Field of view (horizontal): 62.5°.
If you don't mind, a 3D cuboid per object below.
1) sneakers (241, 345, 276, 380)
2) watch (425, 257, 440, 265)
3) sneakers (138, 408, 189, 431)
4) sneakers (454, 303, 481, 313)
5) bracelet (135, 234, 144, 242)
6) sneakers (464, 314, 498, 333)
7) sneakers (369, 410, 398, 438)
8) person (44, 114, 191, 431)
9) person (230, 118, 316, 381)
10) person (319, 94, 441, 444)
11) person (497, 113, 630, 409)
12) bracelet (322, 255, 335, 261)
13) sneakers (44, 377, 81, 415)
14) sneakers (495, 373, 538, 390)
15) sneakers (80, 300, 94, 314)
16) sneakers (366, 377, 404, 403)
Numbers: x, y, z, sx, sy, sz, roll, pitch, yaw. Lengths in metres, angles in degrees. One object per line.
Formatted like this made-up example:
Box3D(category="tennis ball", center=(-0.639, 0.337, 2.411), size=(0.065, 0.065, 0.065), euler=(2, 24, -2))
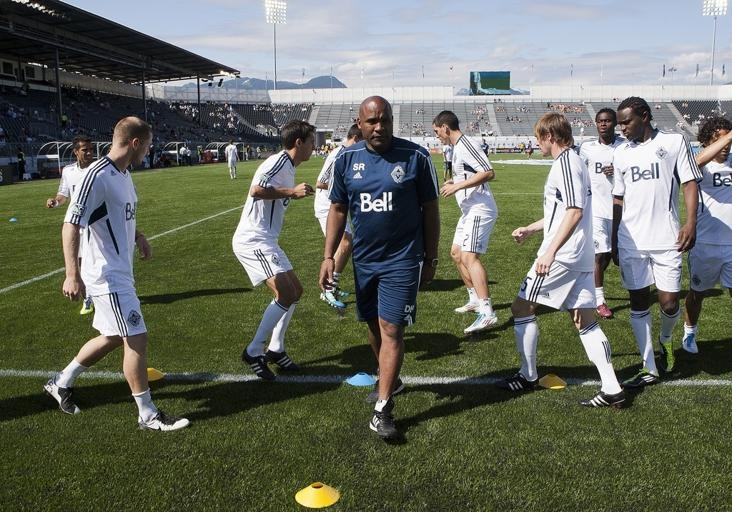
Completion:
Box3D(category="sneakers", center=(-0.971, 0.979, 5.475), size=(0.246, 0.270, 0.204), euler=(-10, 14, -17))
Box3D(category="watch", center=(0.535, 0.043, 4.896), size=(0.073, 0.040, 0.057), euler=(1, 2, 35))
Box3D(category="sneakers", center=(-1.566, 1.280, 4.762), size=(0.393, 0.155, 0.154), euler=(0, -5, -3))
Box3D(category="sneakers", center=(1.214, 0.611, 7.160), size=(0.305, 0.131, 0.105), euler=(-1, -1, 12))
Box3D(category="bracelet", center=(-1.959, -0.157, 5.238), size=(0.056, 0.026, 0.074), euler=(15, -5, -40))
Box3D(category="sneakers", center=(1.241, 0.710, 6.549), size=(0.375, 0.226, 0.269), euler=(-5, 14, 0))
Box3D(category="sneakers", center=(0.132, 1.270, 4.605), size=(0.206, 0.178, 0.239), euler=(-6, 14, -2))
Box3D(category="person", center=(-2.064, 0.153, 4.746), size=(1.131, 2.375, 1.077), euler=(-12, 15, -24))
Box3D(category="person", center=(-0.836, -0.105, 5.771), size=(0.908, 2.270, 1.124), euler=(-7, 14, -6))
Box3D(category="person", center=(0.157, 0.030, 4.749), size=(0.953, 2.492, 0.738), euler=(-7, 14, -4))
Box3D(category="person", center=(1.660, 0.004, 5.117), size=(0.921, 2.366, 0.974), euler=(-5, 14, 5))
Box3D(category="bracelet", center=(-0.310, 0.012, 5.100), size=(0.105, 0.042, 0.082), euler=(0, 6, 10))
Box3D(category="sneakers", center=(-2.484, 1.145, 4.933), size=(0.153, 0.317, 0.112), euler=(-49, 0, 7))
Box3D(category="sneakers", center=(1.311, 1.096, 5.288), size=(0.376, 0.149, 0.136), euler=(0, 0, 0))
Box3D(category="sneakers", center=(-3.302, 0.615, 7.175), size=(0.103, 0.128, 0.300), euler=(4, -4, -19))
Box3D(category="sneakers", center=(0.186, 1.148, 5.157), size=(0.136, 0.174, 0.410), euler=(-11, -10, 27))
